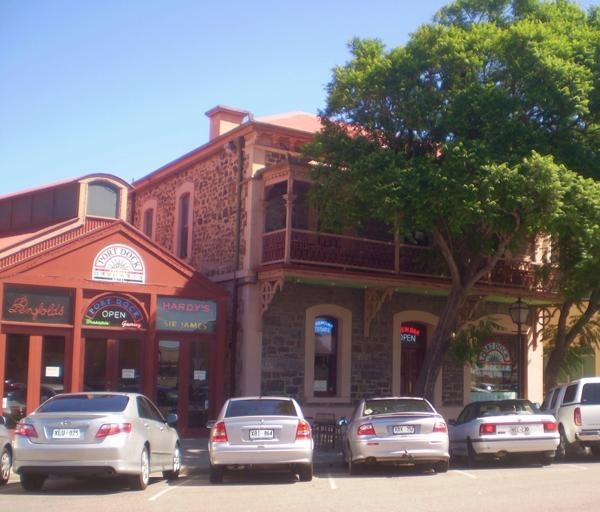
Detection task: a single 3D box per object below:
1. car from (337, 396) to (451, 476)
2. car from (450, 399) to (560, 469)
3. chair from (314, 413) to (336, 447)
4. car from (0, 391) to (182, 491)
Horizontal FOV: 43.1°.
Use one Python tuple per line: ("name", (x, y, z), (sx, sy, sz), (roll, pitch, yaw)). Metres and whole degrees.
("car", (1.875, 3.441, 14.686), (1.894, 1.437, 1.238), (-1, -10, 8))
("car", (4.073, 3.761, 16.255), (1.184, 0.859, 2.285), (2, -21, -9))
("chair", (0.722, 4.450, 19.192), (0.450, 0.588, 0.448), (13, -11, -32))
("car", (-3.151, 3.055, 13.159), (1.322, 0.977, 2.849), (-2, -8, 8))
